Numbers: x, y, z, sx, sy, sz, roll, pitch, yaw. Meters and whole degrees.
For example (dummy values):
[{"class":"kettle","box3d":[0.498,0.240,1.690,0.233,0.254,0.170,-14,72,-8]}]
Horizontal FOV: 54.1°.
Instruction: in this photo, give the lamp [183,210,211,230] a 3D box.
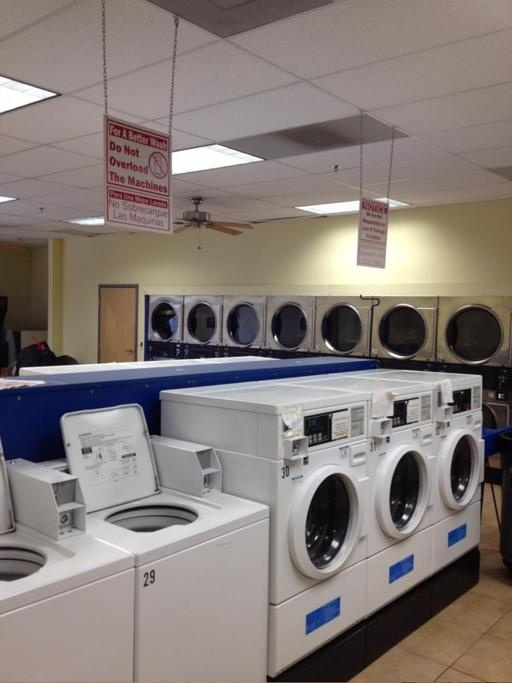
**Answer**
[{"class":"lamp","box3d":[-0.665,-1.386,5.627,0.305,0.194,0.314,-1,5,-8]}]
